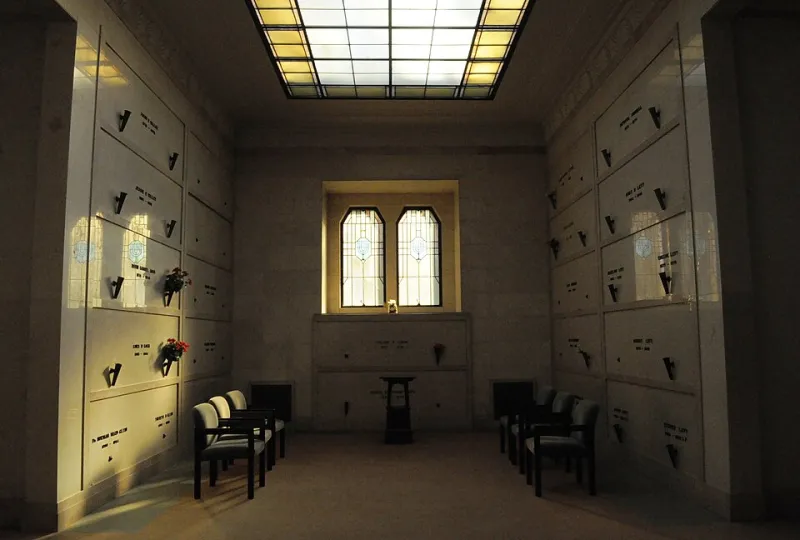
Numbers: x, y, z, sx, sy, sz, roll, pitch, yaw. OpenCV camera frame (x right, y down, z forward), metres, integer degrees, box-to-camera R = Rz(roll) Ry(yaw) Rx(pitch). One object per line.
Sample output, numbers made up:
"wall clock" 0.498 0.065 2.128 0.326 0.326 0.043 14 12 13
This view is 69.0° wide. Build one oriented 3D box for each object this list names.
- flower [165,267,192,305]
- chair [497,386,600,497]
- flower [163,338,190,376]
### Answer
"flower" -3.719 0.238 9.576 0.387 0.604 0.279 20 16 12
"chair" 2.308 2.490 8.873 1.064 1.243 1.849 0 0 -1
"flower" -3.700 1.398 9.671 0.355 0.587 0.612 0 0 -3
